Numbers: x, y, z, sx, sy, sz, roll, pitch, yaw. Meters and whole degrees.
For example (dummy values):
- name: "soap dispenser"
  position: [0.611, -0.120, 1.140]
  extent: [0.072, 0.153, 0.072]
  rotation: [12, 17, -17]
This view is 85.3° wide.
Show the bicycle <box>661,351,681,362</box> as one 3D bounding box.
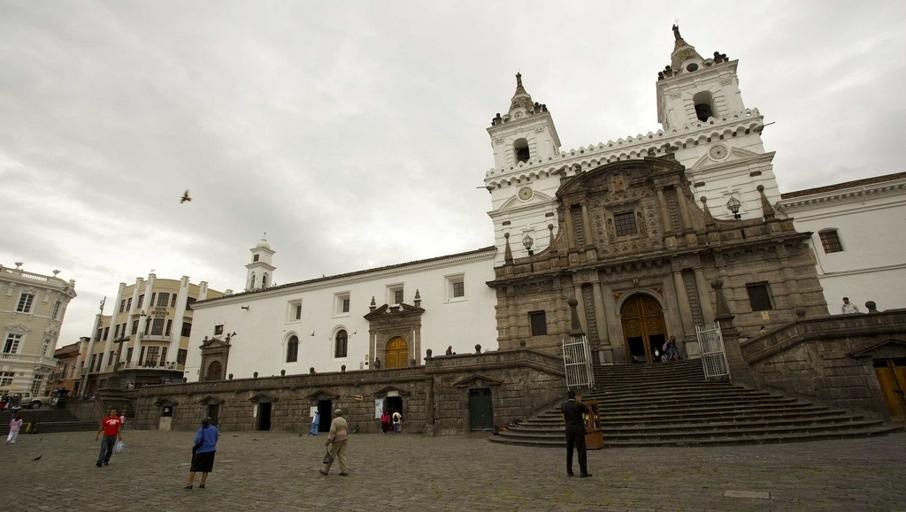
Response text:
- name: "bicycle"
  position: [14.357, 6.651, 32.368]
  extent: [1.144, 0.666, 1.421]
  rotation: [-2, 2, 20]
